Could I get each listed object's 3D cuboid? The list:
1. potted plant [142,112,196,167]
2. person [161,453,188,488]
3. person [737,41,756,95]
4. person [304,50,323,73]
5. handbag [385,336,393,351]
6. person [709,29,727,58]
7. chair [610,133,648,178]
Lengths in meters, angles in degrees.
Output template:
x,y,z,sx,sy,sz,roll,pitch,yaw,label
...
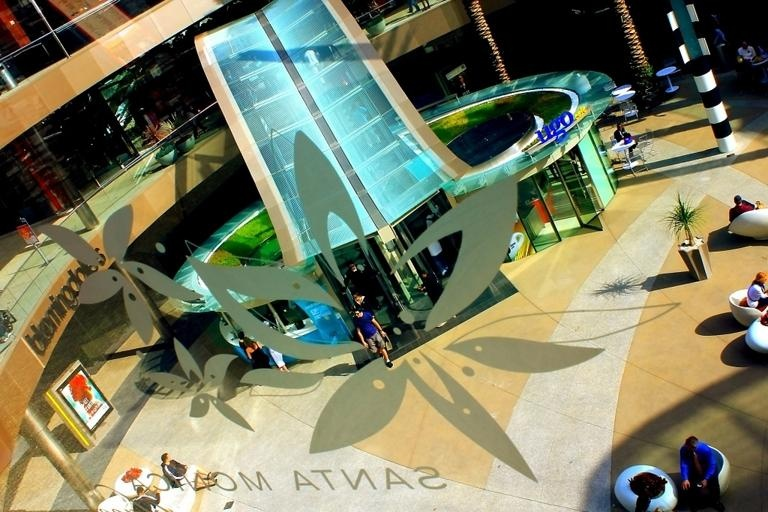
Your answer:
x,y,z,sx,sy,sz,roll,pitch,yaw,label
-9.507,-5.070,21.156,1.966,1.271,2.996,0,34,34,potted plant
-6.302,6.377,14.402,0.598,0.955,0.651,-17,6,17,person
15.270,-8.053,20.034,0.496,1.837,1.055,-21,29,7,person
-2.252,-6.267,15.312,0.431,0.669,0.885,-24,29,1,person
0.090,1.830,9.987,0.138,0.286,0.176,-19,30,11,handbag
15.682,-10.046,22.332,0.441,1.167,0.951,-14,31,19,person
9.880,-3.989,19.146,1.443,1.042,1.474,-29,35,23,chair
